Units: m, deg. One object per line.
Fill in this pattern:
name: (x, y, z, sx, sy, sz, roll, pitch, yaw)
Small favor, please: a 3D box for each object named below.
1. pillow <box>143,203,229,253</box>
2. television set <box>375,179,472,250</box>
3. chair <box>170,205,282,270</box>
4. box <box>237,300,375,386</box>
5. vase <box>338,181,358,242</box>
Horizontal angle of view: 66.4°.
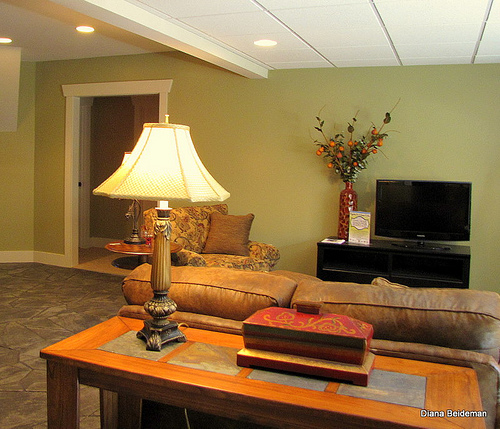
pillow: (-0.613, 0.170, 4.397, 0.304, 0.516, 0.980, 3, 9, 36)
television set: (1.883, -0.010, 4.082, 0.827, 0.556, 0.209, 2, 1, 20)
chair: (-0.358, 0.295, 4.310, 0.918, 0.739, 1.022, 2, 8, 30)
box: (0.168, 0.343, 1.094, 0.358, 0.171, 0.200, 1, 8, 21)
vase: (1.091, -0.043, 4.293, 0.206, 0.651, 0.302, 0, 8, 16)
